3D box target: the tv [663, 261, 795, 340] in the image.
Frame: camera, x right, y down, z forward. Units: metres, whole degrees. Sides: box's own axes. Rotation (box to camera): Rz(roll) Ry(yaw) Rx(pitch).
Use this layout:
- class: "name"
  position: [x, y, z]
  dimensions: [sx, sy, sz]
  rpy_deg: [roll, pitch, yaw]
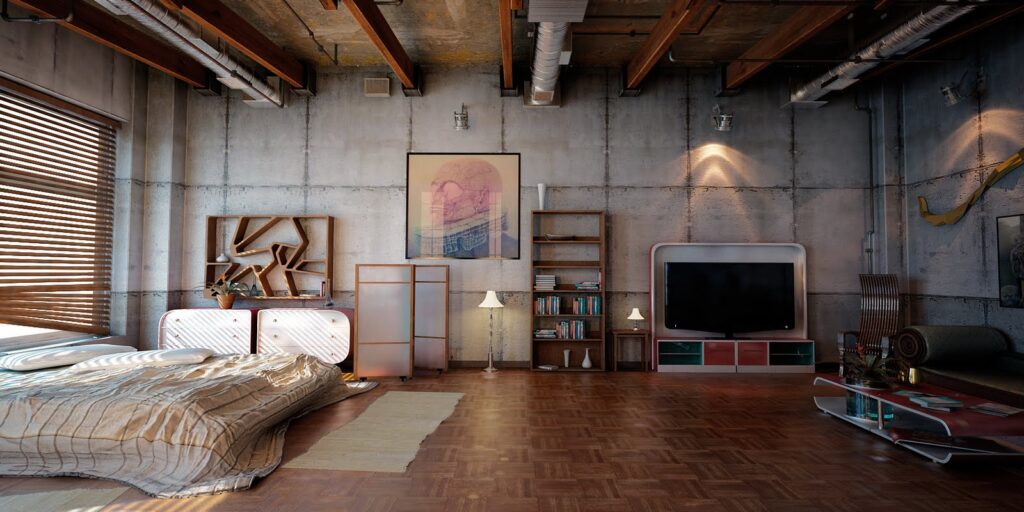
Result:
- class: "tv"
  position: [4.332, 0.842, 12.826]
  dimensions: [2.539, 1.465, 0.172]
  rpy_deg: [-1, -6, 0]

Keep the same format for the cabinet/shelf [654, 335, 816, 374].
- class: "cabinet/shelf"
  position: [4.378, 1.958, 12.749]
  dimensions: [3.114, 0.701, 0.401]
  rpy_deg: [-1, -6, 2]

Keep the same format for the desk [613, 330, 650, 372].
- class: "desk"
  position: [2.583, 1.900, 13.021]
  dimensions: [1.139, 0.689, 0.884]
  rpy_deg: [0, -8, 1]

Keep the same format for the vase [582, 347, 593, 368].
- class: "vase"
  position: [1.500, 2.014, 12.843]
  dimensions: [0.201, 0.389, 0.196]
  rpy_deg: [-2, -6, 5]

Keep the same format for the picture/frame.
- class: "picture/frame"
  position: [-0.980, -1.050, 13.021]
  dimensions: [2.290, 2.131, 0.207]
  rpy_deg: [-1, -6, 1]

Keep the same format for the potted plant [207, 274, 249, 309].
- class: "potted plant"
  position: [-5.697, 0.691, 12.846]
  dimensions: [0.678, 0.661, 0.503]
  rpy_deg: [-3, -6, 24]
